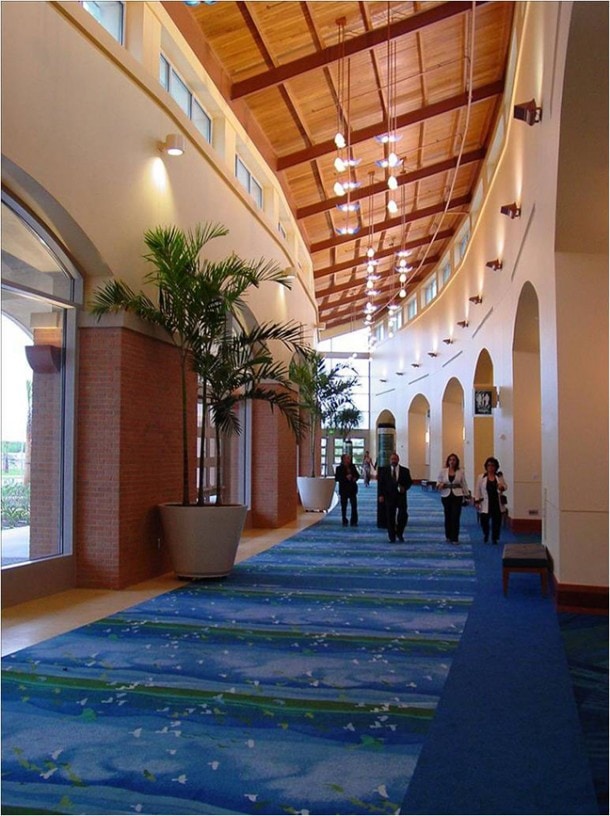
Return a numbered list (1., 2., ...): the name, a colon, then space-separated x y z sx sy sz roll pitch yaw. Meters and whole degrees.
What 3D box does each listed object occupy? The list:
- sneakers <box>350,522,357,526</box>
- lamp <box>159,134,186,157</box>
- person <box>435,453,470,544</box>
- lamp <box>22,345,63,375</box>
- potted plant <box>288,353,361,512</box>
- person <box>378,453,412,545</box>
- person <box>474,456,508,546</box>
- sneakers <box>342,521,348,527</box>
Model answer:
1. sneakers: 1.202 2.889 13.006 0.110 0.130 0.104 1 -9 5
2. lamp: -1.655 -3.244 6.533 0.320 0.263 0.203 0 0 43
3. person: 2.872 1.729 10.193 0.543 1.754 1.485 -2 -10 18
4. lamp: -2.733 -0.507 5.472 0.178 0.316 0.402 0 -1 7
5. potted plant: 0.293 0.619 16.037 2.056 4.597 2.053 0 2 7
6. person: 1.791 1.836 10.668 0.487 1.745 1.097 1 -9 -3
7. person: 3.736 1.817 10.595 0.559 1.735 2.088 -2 -10 21
8. sneakers: 0.975 2.868 12.957 0.096 0.148 0.112 -1 -6 4
